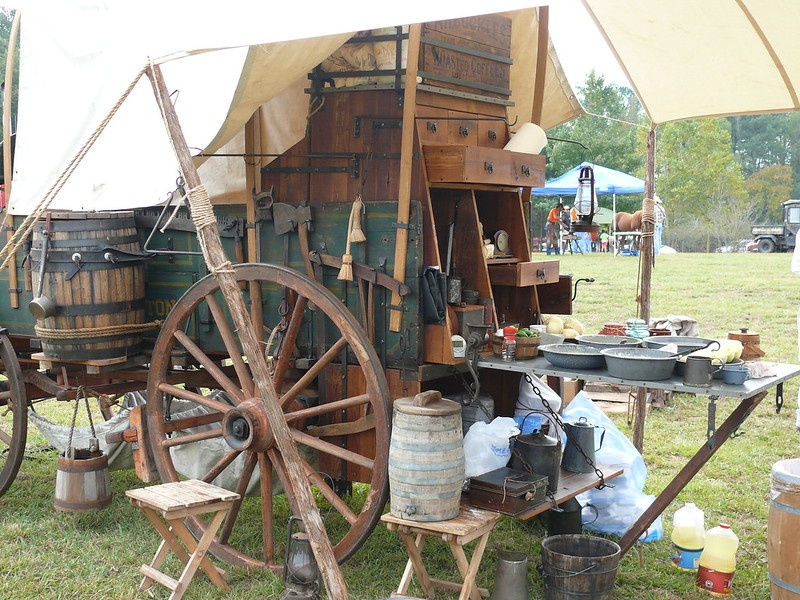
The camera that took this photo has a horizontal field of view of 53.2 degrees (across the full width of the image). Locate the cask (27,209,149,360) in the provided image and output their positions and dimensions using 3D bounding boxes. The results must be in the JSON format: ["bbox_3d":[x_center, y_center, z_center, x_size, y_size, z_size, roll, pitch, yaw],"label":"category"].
[{"bbox_3d":[-2.033,-0.100,5.512,0.797,0.966,0.775,-5,2,-6],"label":"cask"}]

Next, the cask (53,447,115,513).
[{"bbox_3d":[-2.200,1.225,5.486,0.373,0.407,0.399,-1,-2,-2],"label":"cask"}]

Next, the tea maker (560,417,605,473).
[{"bbox_3d":[1.204,0.939,5.305,0.276,0.347,0.237,3,4,-10],"label":"tea maker"}]

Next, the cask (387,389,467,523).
[{"bbox_3d":[0.146,0.829,4.364,0.428,0.653,0.422,-2,6,-36],"label":"cask"}]

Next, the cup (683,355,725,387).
[{"bbox_3d":[1.673,0.390,4.451,0.229,0.166,0.154,5,3,26],"label":"cup"}]

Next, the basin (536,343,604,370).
[{"bbox_3d":[1.060,0.340,4.855,0.405,0.129,0.342,0,2,32],"label":"basin"}]

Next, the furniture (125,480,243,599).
[{"bbox_3d":[-1.222,1.321,4.713,0.638,0.728,0.620,2,1,-41],"label":"furniture"}]

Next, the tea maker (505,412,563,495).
[{"bbox_3d":[0.805,0.964,4.838,0.297,0.382,0.368,0,2,20],"label":"tea maker"}]

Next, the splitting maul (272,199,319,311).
[{"bbox_3d":[-0.693,-0.372,5.268,0.245,0.667,0.093,-13,47,-11],"label":"splitting maul"}]

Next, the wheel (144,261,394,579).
[{"bbox_3d":[-0.781,0.710,4.899,1.735,1.802,0.462,6,6,34],"label":"wheel"}]

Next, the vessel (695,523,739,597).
[{"bbox_3d":[1.902,1.551,4.786,0.236,0.390,0.152,-1,3,1],"label":"vessel"}]

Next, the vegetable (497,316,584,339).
[{"bbox_3d":[1.108,0.178,5.544,0.295,0.133,0.307,3,-7,-3],"label":"vegetable"}]
